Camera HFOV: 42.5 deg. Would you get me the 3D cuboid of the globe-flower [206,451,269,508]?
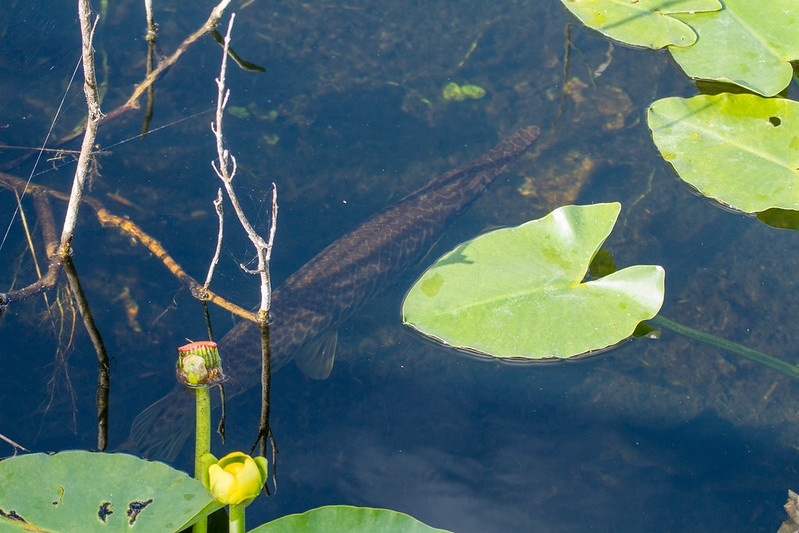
[{"bbox_3d":[-1.239,1.609,7.868,0.307,0.508,0.306,-23,46,-32],"label":"globe-flower"}]
